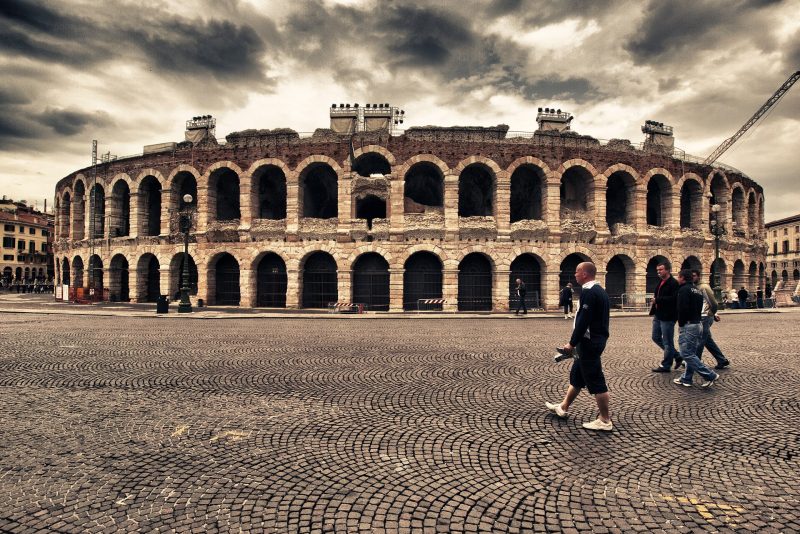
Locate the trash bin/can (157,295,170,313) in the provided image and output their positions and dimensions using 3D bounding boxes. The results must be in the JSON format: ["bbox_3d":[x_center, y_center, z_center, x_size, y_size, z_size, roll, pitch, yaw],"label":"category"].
[{"bbox_3d":[-12.803,2.023,42.251,0.533,0.919,0.687,1,-1,-16],"label":"trash bin/can"}]

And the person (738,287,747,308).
[{"bbox_3d":[20.900,1.931,47.806,0.445,1.086,0.921,0,-1,24],"label":"person"}]
